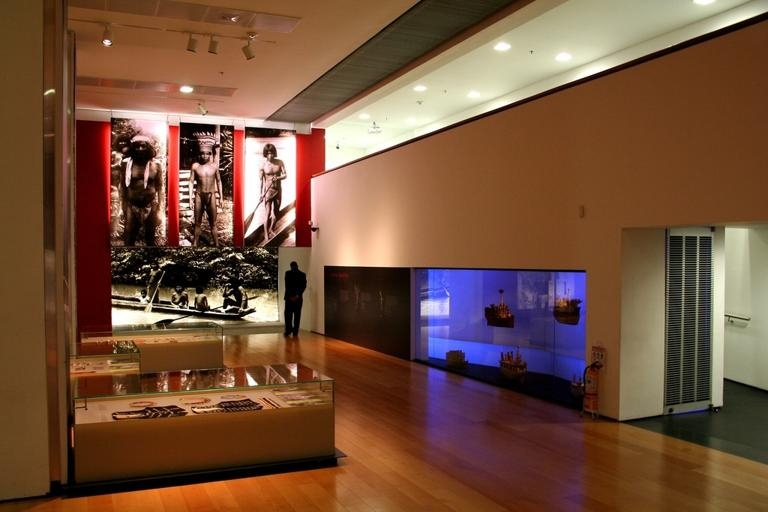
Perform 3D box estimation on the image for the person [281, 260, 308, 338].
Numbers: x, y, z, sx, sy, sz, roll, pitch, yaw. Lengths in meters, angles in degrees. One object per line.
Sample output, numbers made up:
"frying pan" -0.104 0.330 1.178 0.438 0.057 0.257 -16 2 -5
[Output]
"person" -2.594 1.216 15.361 0.598 2.125 0.504 -1 2 -9
